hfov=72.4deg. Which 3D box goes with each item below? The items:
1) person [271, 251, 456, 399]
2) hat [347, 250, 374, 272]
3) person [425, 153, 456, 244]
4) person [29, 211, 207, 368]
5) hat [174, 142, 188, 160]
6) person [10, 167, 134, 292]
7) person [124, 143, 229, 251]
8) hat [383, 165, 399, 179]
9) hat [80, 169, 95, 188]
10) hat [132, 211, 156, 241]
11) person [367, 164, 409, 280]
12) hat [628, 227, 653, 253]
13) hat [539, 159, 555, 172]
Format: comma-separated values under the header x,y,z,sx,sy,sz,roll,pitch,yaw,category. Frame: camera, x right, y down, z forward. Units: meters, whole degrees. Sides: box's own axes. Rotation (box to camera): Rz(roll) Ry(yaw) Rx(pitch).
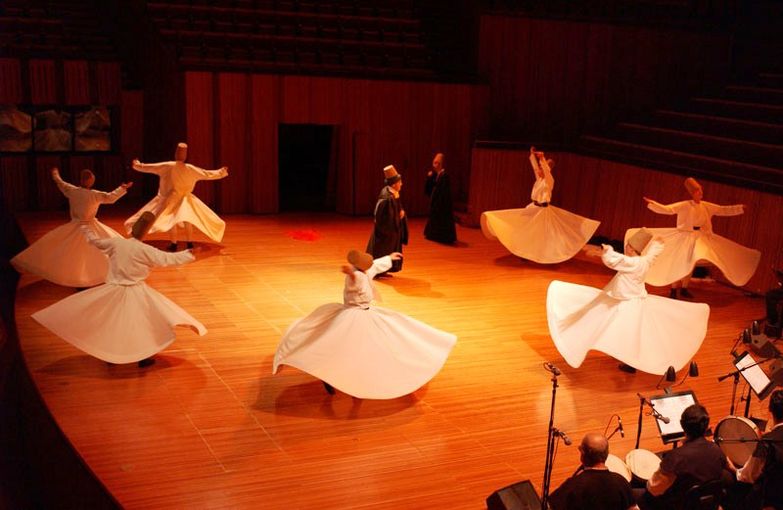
x,y,z,sx,sy,sz,roll,pitch,yaw,category
-0.263,0.747,5.550,1.520,1.106,1.569,4,12,12,person
-0.308,0.043,5.464,0.239,0.247,0.346,3,17,-1,hat
0.978,-1.151,10.575,0.637,1.715,0.909,1,17,-4,person
-2.834,0.359,5.723,1.730,1.561,1.157,4,22,-21,person
-3.450,-1.679,8.815,0.156,0.316,0.292,-8,21,-31,hat
-4.330,-0.392,7.462,1.439,1.475,0.923,10,4,-4,person
-3.606,-1.003,9.102,1.627,1.670,0.963,2,7,-34,person
-0.021,-1.305,8.464,0.172,0.240,0.454,1,18,-5,hat
-4.070,-1.011,7.187,0.135,0.311,0.527,-8,21,-31,hat
-2.600,-0.309,5.675,0.163,0.317,0.197,-2,58,-43,hat
-0.055,-0.561,8.724,0.674,1.720,0.621,-17,35,-21,person
2.910,-0.166,6.270,0.244,0.342,0.262,6,-24,22,hat
2.649,-1.535,9.114,0.292,0.148,0.200,-1,18,-12,hat
